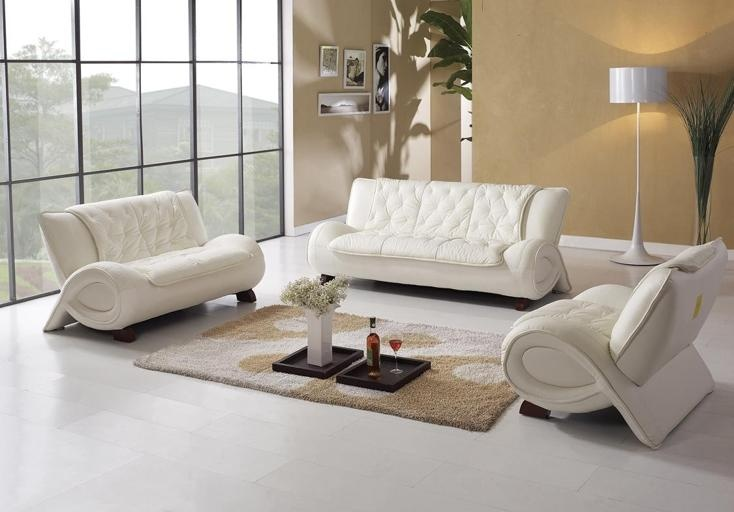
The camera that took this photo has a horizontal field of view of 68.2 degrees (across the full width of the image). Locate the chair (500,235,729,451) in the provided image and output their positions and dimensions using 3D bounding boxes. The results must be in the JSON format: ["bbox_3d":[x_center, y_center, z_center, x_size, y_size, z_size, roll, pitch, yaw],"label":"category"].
[{"bbox_3d":[1.553,0.475,3.335,1.195,1.112,1.370,10,17,36],"label":"chair"}]

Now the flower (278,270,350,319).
[{"bbox_3d":[-0.359,0.259,3.815,0.302,0.188,0.389,1,5,10],"label":"flower"}]

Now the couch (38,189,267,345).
[{"bbox_3d":[-1.991,0.021,5.201,1.199,1.036,1.899,8,14,21],"label":"couch"}]

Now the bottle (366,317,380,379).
[{"bbox_3d":[0.039,0.601,3.653,0.089,0.437,0.137,-2,19,-2],"label":"bottle"}]
